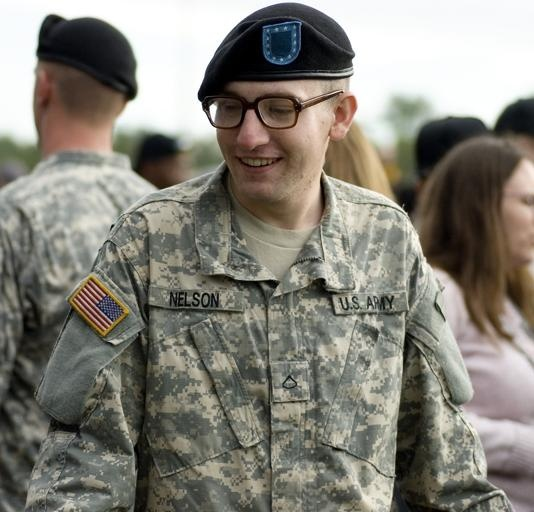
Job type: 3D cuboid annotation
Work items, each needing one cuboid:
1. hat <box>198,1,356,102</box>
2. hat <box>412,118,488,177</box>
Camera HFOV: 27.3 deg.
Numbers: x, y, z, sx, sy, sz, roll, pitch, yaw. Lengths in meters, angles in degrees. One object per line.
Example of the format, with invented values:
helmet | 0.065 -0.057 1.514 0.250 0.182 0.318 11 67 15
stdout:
hat | 0.035 -0.632 3.436 0.489 0.320 0.229 2 3 -1
hat | 0.886 -0.547 5.620 0.272 0.378 0.378 15 15 25
